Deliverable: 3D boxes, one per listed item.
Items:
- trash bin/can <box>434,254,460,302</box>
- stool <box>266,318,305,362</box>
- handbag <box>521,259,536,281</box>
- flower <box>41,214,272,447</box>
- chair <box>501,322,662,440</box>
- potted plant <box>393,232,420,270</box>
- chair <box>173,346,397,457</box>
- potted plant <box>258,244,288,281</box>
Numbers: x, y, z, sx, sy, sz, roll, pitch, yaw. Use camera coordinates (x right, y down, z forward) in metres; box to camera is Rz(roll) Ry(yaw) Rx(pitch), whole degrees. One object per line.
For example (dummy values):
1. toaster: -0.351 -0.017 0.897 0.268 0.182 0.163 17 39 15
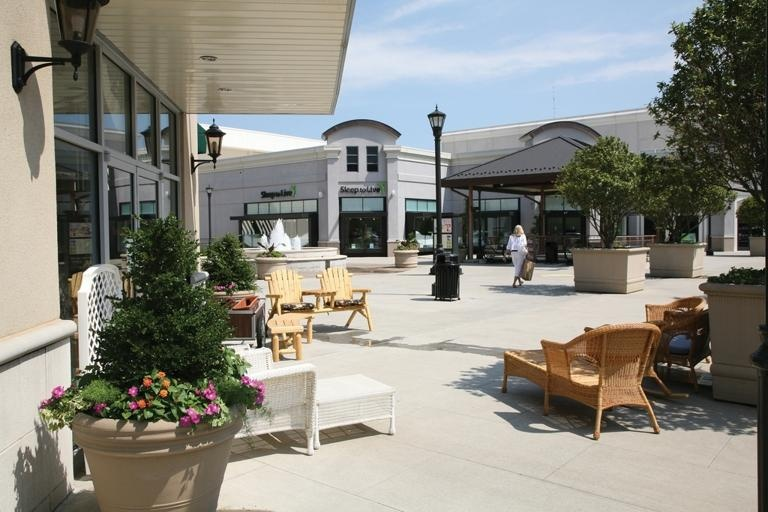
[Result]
1. trash bin/can: 1.730 0.562 17.474 0.853 1.322 0.844 1 6 21
2. stool: -1.661 1.379 10.682 0.557 0.582 1.432 -2 3 -9
3. handbag: 4.863 0.478 21.055 0.654 0.860 0.492 3 -10 11
4. flower: -1.873 0.533 5.185 1.604 1.689 0.735 -1 6 -2
5. chair: 2.510 1.347 7.830 1.218 1.315 2.135 1 2 -20
6. potted plant: 1.454 -0.175 32.636 1.414 1.964 1.445 0 -2 -5
7. chair: -0.776 1.599 7.003 1.554 0.749 1.157 -1 1 -25
8. potted plant: -4.541 0.237 24.660 1.942 1.350 1.979 1 4 -7
